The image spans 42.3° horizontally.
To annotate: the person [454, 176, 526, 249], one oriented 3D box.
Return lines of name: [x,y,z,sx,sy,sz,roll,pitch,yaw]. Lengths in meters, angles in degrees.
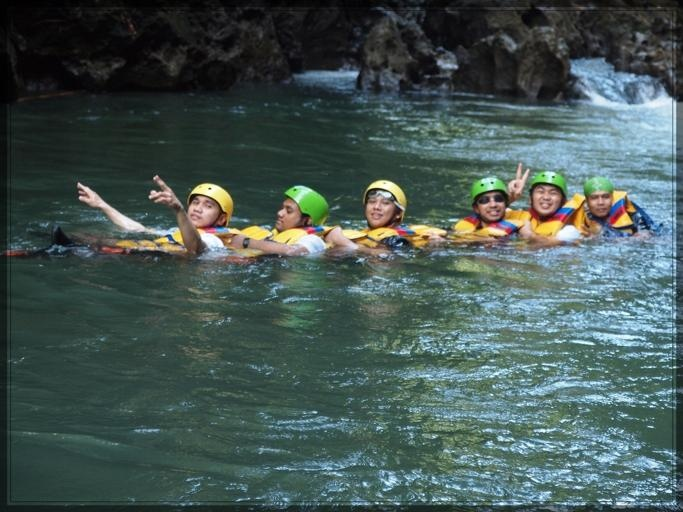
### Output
person: [2.145,-0.705,12.399,1.153,0.585,1.175,-1,40,24]

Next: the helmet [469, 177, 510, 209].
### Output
helmet: [2.090,-0.890,12.514,0.477,0.456,0.381,-5,33,4]

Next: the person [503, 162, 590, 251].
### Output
person: [2.836,-0.639,12.190,1.266,0.612,1.252,0,35,13]

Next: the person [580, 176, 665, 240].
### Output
person: [3.852,-0.685,12.482,1.144,0.740,0.808,9,16,32]

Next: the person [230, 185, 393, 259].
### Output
person: [-0.562,-0.458,11.360,1.663,0.779,0.885,-2,14,-13]

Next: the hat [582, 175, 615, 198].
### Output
hat: [3.742,-0.986,12.924,0.374,0.270,0.413,-8,-21,9]

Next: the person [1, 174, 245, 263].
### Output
person: [-2.332,-0.398,10.977,2.253,0.614,1.244,1,16,-25]

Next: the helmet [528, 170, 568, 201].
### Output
helmet: [2.973,-1.017,12.691,0.546,0.235,0.573,5,15,9]
